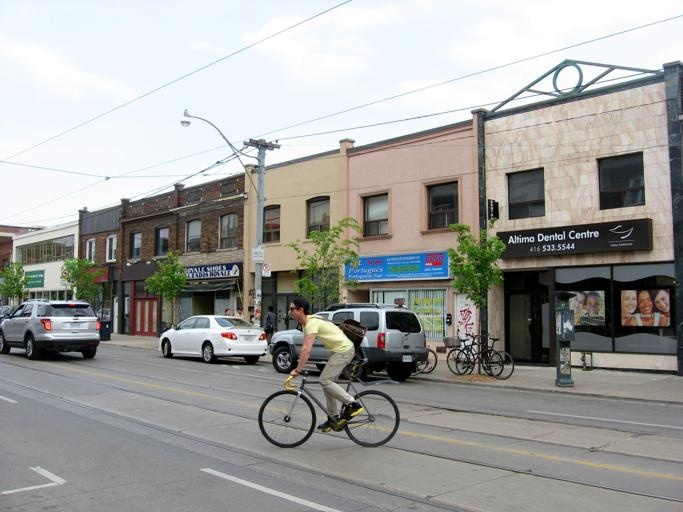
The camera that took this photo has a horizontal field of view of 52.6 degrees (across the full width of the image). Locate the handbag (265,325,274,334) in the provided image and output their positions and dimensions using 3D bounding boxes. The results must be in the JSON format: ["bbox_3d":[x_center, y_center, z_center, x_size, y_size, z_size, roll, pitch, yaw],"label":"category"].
[{"bbox_3d":[-2.766,2.976,27.737,0.344,0.346,0.599,6,-3,-24],"label":"handbag"}]

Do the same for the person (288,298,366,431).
[{"bbox_3d":[-0.212,1.711,10.928,1.099,2.171,0.978,-1,-8,1],"label":"person"}]

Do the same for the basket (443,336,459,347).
[{"bbox_3d":[3.094,2.463,19.726,0.403,0.262,0.297,-1,-2,-40],"label":"basket"}]

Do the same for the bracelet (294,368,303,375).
[{"bbox_3d":[-0.653,1.755,10.476,0.127,0.058,0.096,-12,-1,-18],"label":"bracelet"}]

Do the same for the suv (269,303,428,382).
[{"bbox_3d":[0.226,2.322,19.751,3.951,1.713,2.064,0,-6,41],"label":"suv"}]

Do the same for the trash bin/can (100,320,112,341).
[{"bbox_3d":[-11.956,3.757,35.070,0.411,1.042,1.134,1,-8,-13],"label":"trash bin/can"}]

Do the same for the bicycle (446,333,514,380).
[{"bbox_3d":[3.929,2.946,20.108,1.523,1.274,2.184,1,-9,-12],"label":"bicycle"}]

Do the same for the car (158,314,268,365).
[{"bbox_3d":[-4.498,2.850,24.054,1.690,1.094,3.329,7,-6,-44],"label":"car"}]

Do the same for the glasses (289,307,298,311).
[{"bbox_3d":[-0.743,0.835,10.850,0.104,0.032,0.099,13,-14,-23],"label":"glasses"}]
